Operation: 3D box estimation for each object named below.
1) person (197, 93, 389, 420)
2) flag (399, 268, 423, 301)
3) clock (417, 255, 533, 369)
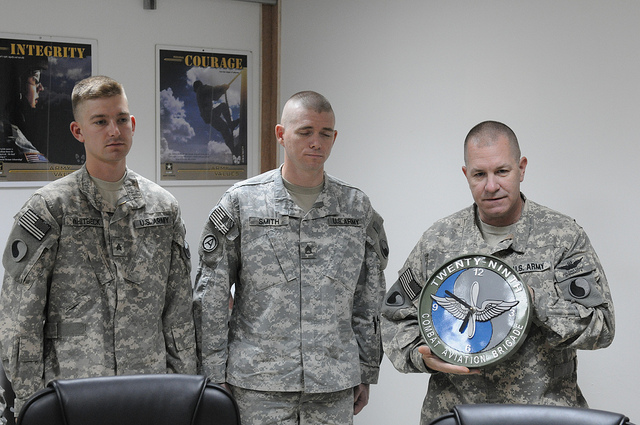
[{"bbox_3d":[-0.132,0.216,3.472,0.914,1.558,0.401,2,7,2],"label":"person"},{"bbox_3d":[0.399,0.321,3.183,0.110,0.111,0.024,53,17,25],"label":"flag"},{"bbox_3d":[0.651,0.422,2.962,0.442,0.440,0.073,-6,-19,17],"label":"clock"}]
